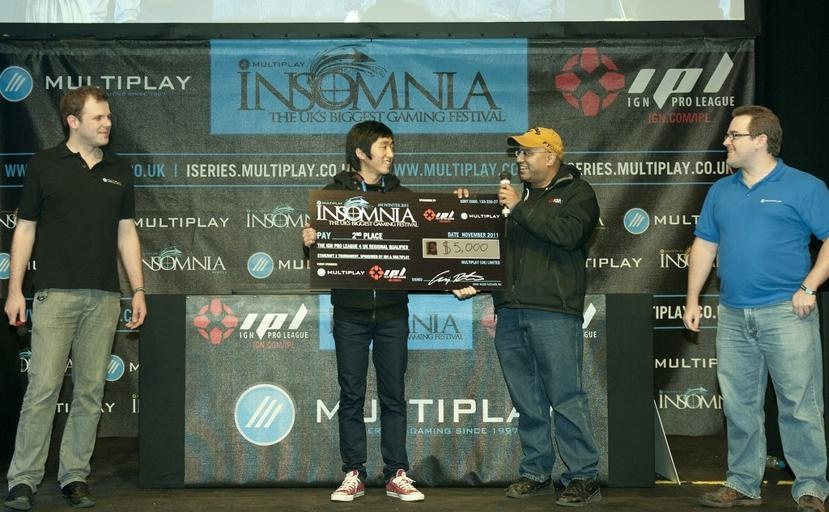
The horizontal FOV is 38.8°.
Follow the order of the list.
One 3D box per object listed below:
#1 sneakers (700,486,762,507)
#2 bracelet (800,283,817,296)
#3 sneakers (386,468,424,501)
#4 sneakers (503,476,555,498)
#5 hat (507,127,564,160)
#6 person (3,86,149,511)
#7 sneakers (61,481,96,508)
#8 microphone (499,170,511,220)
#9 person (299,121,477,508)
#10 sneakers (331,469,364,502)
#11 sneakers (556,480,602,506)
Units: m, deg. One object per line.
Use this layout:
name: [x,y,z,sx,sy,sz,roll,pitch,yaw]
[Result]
sneakers: [2.290,1.744,8.535,0.433,0.154,0.156,3,-9,-3]
bracelet: [2.782,0.236,8.297,0.099,0.033,0.078,17,-7,12]
sneakers: [-0.069,1.673,8.552,0.286,0.222,0.125,-2,-12,5]
sneakers: [0.844,1.704,8.655,0.388,0.133,0.130,2,-6,-18]
hat: [0.925,-0.835,8.735,0.396,0.163,0.251,10,0,-9]
person: [-2.563,0.305,8.619,0.943,3.047,0.692,-7,-14,23]
sneakers: [-2.409,1.713,8.445,0.139,0.101,0.289,0,-4,-37]
microphone: [0.671,-0.460,8.535,0.095,0.291,0.098,4,-12,-40]
person: [-0.321,0.399,8.701,0.642,2.789,0.635,-4,-13,12]
sneakers: [-0.463,1.670,8.540,0.273,0.219,0.098,5,-14,-29]
sneakers: [1.221,1.719,8.531,0.345,0.131,0.151,7,-11,-37]
